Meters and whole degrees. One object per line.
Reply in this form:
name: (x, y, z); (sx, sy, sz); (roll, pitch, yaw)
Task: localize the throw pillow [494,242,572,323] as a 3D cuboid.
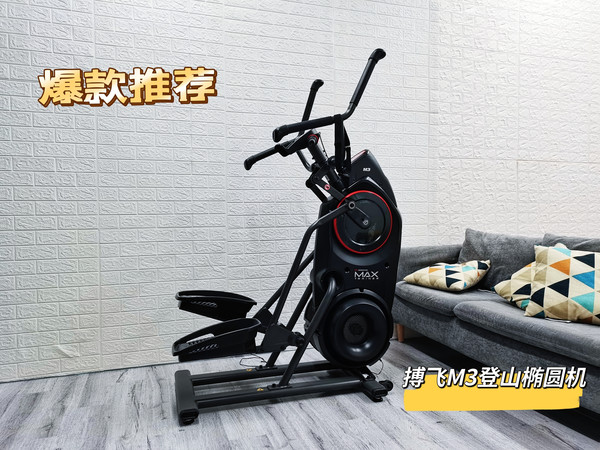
throw pillow: (1.710, 0.409, 3.400); (0.238, 0.654, 0.767); (19, 33, 25)

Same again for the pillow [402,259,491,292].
pillow: (1.248, 0.356, 3.684); (0.378, 0.090, 0.378); (-7, 2, 45)

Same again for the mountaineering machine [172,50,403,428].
mountaineering machine: (-0.049, 0.028, 2.927); (1.530, 2.248, 0.638); (-5, 13, -12)

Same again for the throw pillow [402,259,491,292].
throw pillow: (1.255, 0.357, 3.692); (0.378, 0.090, 0.378); (-7, 2, 45)

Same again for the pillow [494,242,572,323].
pillow: (1.590, 0.433, 3.273); (0.476, 0.166, 0.509); (-45, 4, -41)
